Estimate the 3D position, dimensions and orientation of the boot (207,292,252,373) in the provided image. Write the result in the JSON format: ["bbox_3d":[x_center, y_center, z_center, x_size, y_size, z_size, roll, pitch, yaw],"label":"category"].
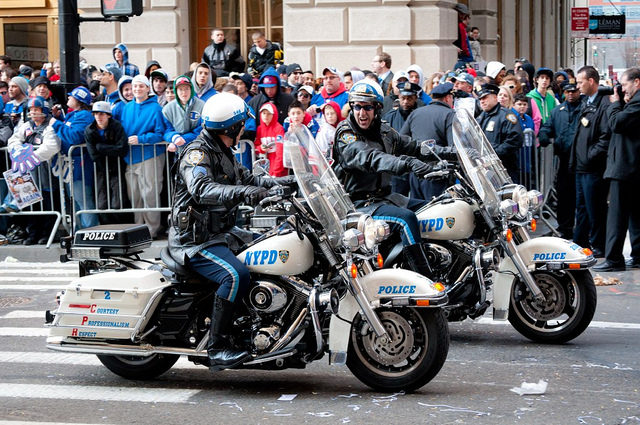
[{"bbox_3d":[-0.826,1.105,7.903,0.409,0.699,0.223,-3,13,-6],"label":"boot"}]

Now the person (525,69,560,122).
[{"bbox_3d":[4.293,-2.287,15.799,0.440,0.678,0.240,-33,13,-30],"label":"person"}]

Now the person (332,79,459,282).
[{"bbox_3d":[0.813,-0.319,9.033,1.440,1.925,1.129,-3,16,8],"label":"person"}]
